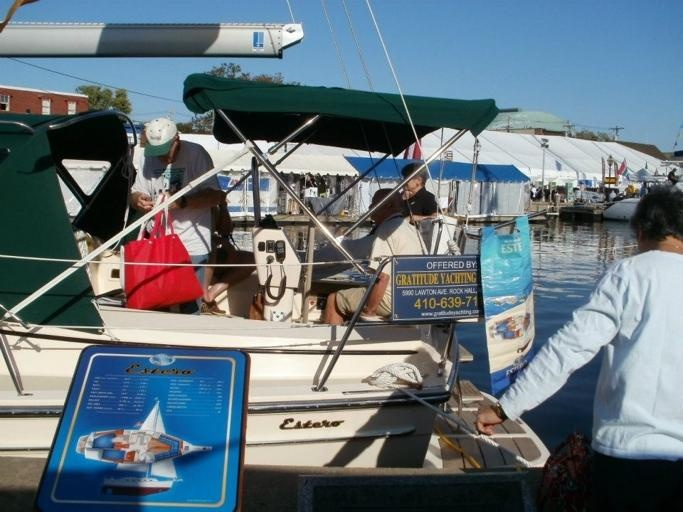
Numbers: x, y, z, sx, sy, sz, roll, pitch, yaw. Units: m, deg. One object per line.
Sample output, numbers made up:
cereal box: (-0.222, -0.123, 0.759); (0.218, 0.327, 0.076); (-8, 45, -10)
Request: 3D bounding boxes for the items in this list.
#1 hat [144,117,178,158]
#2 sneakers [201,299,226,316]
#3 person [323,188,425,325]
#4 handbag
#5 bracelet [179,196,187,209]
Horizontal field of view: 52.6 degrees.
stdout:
hat: (-1.383, -0.912, 5.106); (0.222, 0.182, 0.363); (1, 42, 10)
sneakers: (-1.138, 0.425, 5.692); (0.317, 0.132, 0.105); (2, 10, -4)
person: (0.284, 0.158, 5.524); (0.825, 1.449, 0.666); (8, 11, 12)
handbag: (-1.265, 0.007, 4.824); (0.500, 0.684, 0.269); (-10, 28, -22)
bracelet: (-1.194, -0.399, 5.109); (0.017, 0.073, 0.069); (2, 17, 45)
